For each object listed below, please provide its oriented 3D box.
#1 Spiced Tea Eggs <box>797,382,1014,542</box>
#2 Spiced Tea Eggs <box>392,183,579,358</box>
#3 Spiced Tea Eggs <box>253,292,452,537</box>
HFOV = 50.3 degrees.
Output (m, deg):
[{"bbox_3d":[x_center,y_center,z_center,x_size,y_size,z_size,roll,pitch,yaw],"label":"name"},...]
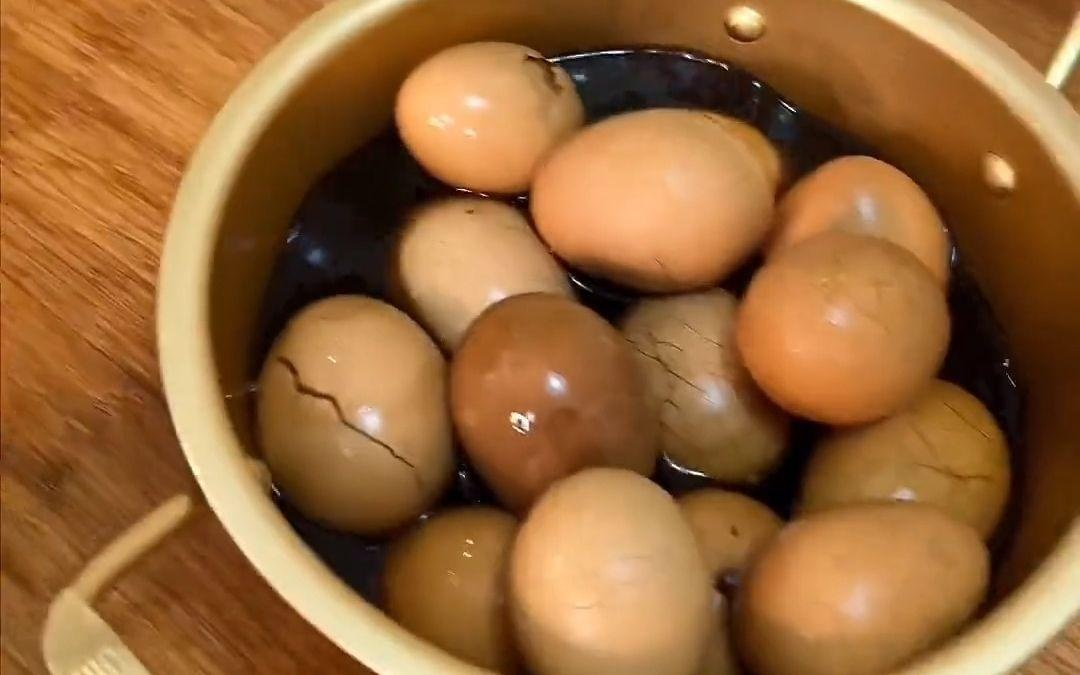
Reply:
[{"bbox_3d":[0.224,0.079,0.711,0.096,0.100,0.125,14,33,14],"label":"Spiced Tea Eggs"},{"bbox_3d":[-0.031,-0.050,0.699,0.070,0.087,0.106,-19,45,-21],"label":"Spiced Tea Eggs"},{"bbox_3d":[-0.108,0.046,0.675,0.111,0.028,0.134,-9,72,0],"label":"Spiced Tea Eggs"}]
